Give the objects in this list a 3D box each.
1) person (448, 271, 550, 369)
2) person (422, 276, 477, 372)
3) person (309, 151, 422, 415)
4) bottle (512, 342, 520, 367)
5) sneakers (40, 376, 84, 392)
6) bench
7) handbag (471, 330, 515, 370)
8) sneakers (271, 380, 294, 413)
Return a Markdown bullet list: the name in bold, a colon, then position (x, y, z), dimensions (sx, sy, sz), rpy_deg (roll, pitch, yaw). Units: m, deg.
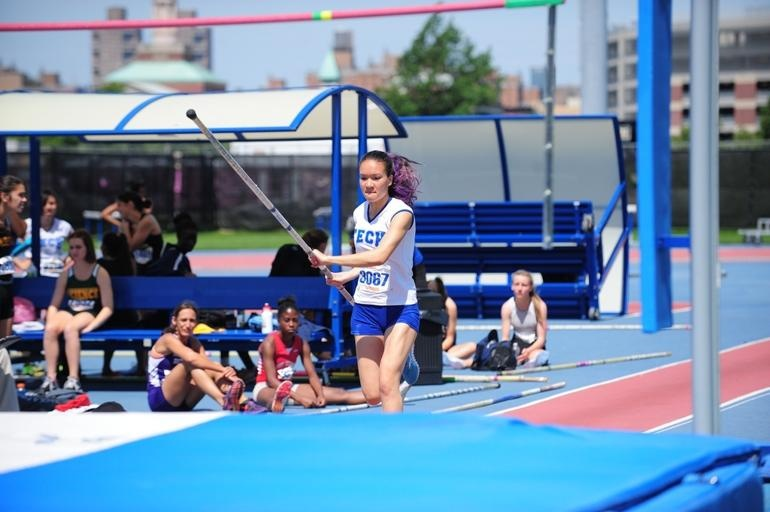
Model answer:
- **person**: position (1.622, 0.961, 20.234), dimensions (1.328, 1.265, 1.034), rpy_deg (-6, 8, -32)
- **person**: position (0.621, 0.960, 20.679), dimensions (0.841, 1.177, 0.679), rpy_deg (4, 3, -32)
- **person**: position (-0.089, 0.350, 17.057), dimensions (1.050, 2.897, 0.904), rpy_deg (-3, 6, -9)
- **bottle**: position (1.694, 1.376, 20.276), dimensions (0.095, 0.287, 0.229), rpy_deg (-1, 5, 8)
- **sneakers**: position (-3.917, 1.674, 18.992), dimensions (0.439, 0.160, 0.252), rpy_deg (-1, -3, 13)
- **bench**: position (-2.641, 0.940, 19.588), dimensions (3.967, 0.803, 0.814), rpy_deg (-1, 8, 0)
- **handbag**: position (1.431, 1.331, 20.379), dimensions (0.667, 0.509, 0.332), rpy_deg (2, 7, 36)
- **sneakers**: position (-1.212, 1.759, 18.505), dimensions (0.176, 0.399, 0.166), rpy_deg (16, -7, -22)
